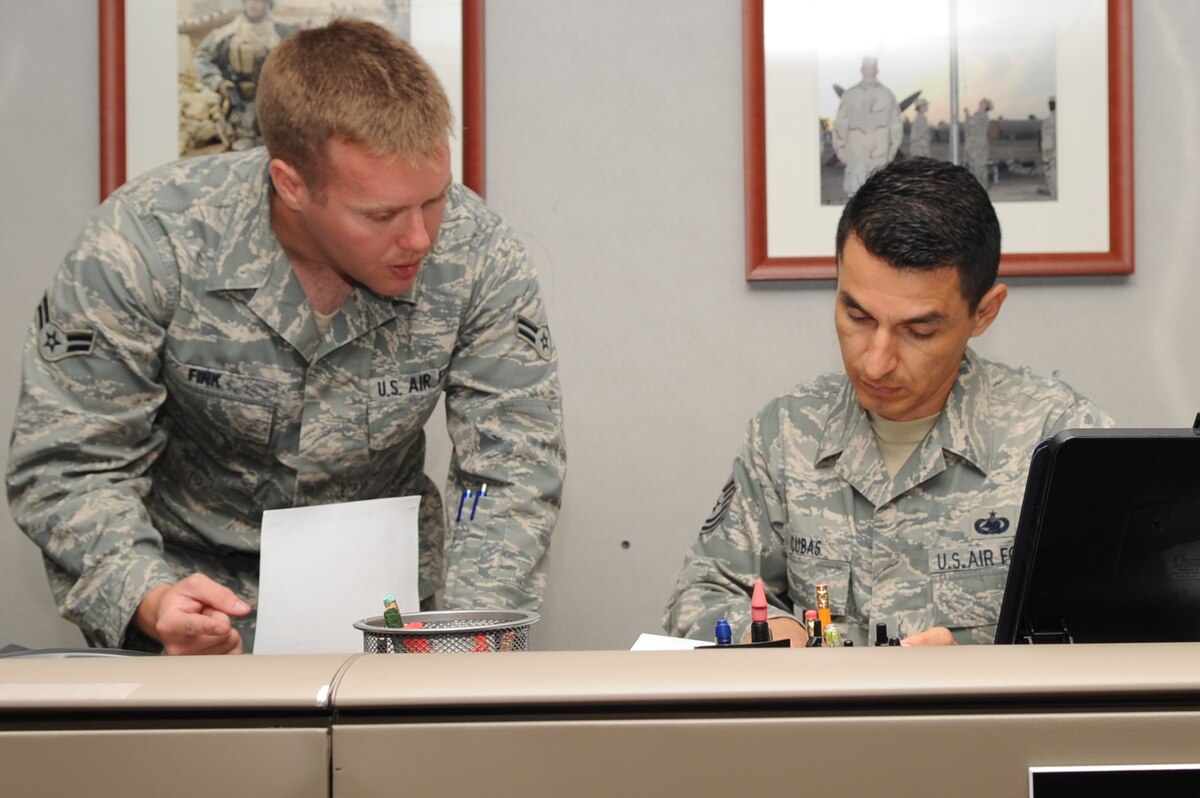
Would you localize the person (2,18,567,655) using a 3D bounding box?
[{"bbox_3d":[-0.519,-0.065,2.082,0.907,1.141,0.625,-1,13,-2],"label":"person"}]

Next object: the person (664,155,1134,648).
[{"bbox_3d":[0.487,0.001,2.176,0.677,0.837,0.517,-11,17,-39],"label":"person"}]
